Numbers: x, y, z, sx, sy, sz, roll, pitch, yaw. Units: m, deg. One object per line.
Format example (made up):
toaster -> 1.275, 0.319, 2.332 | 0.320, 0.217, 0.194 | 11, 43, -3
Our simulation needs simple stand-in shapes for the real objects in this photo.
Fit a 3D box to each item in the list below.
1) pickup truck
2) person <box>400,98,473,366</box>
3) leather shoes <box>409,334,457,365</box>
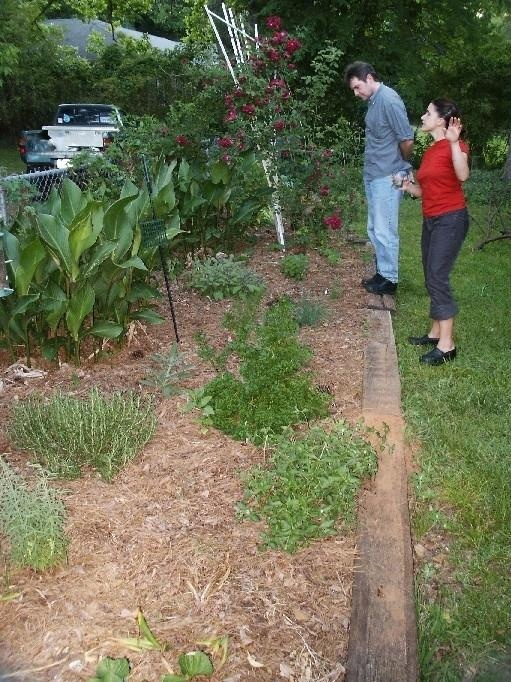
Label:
pickup truck -> -3.177, -3.552, 9.681 | 1.607, 1.231, 3.096 | -6, 16, -15
person -> 1.272, -0.743, 3.971 | 0.348, 1.755, 0.577 | 2, 17, 14
leather shoes -> 1.284, 0.088, 4.065 | 0.257, 0.080, 0.182 | -13, 39, -26
